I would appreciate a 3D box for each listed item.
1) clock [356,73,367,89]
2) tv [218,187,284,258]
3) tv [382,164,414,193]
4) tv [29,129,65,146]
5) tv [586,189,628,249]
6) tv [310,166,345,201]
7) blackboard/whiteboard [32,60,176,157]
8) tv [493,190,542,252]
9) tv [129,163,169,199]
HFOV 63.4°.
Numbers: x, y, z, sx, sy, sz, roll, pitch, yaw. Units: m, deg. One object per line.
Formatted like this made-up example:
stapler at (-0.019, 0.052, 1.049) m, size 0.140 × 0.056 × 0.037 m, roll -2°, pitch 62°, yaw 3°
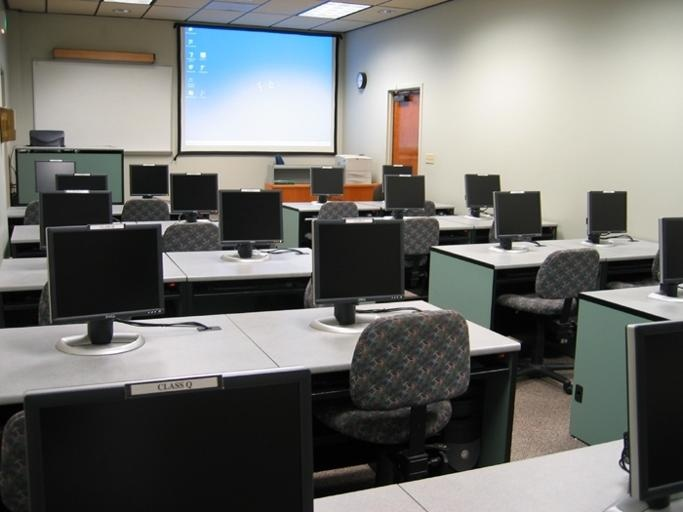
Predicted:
clock at (0.372, -3.086, 9.730) m, size 0.073 × 0.293 × 0.275 m, roll -3°, pitch 13°, yaw -22°
tv at (-0.644, -0.229, 3.891) m, size 0.526 × 0.592 × 0.216 m, roll -1°, pitch 2°, yaw -20°
tv at (0.753, -1.150, 7.685) m, size 0.508 × 0.506 × 0.120 m, roll 1°, pitch 1°, yaw -20°
tv at (-4.105, -1.645, 7.729) m, size 0.395 × 0.209 × 0.276 m, roll -8°, pitch 16°, yaw -37°
tv at (2.331, -0.318, 4.845) m, size 0.473 × 0.519 × 0.277 m, roll -3°, pitch 5°, yaw -26°
tv at (-0.212, -0.935, 7.796) m, size 0.566 × 0.625 × 0.354 m, roll -1°, pitch 3°, yaw -18°
blackboard/whiteboard at (-3.803, -2.343, 8.639) m, size 1.857 × 1.365 × 0.048 m, roll -2°, pitch 5°, yaw -25°
tv at (1.468, -0.285, 4.596) m, size 0.509 × 0.555 × 0.197 m, roll -1°, pitch 0°, yaw -27°
tv at (-2.458, -0.960, 7.072) m, size 0.595 × 0.608 × 0.195 m, roll -3°, pitch 8°, yaw -23°
